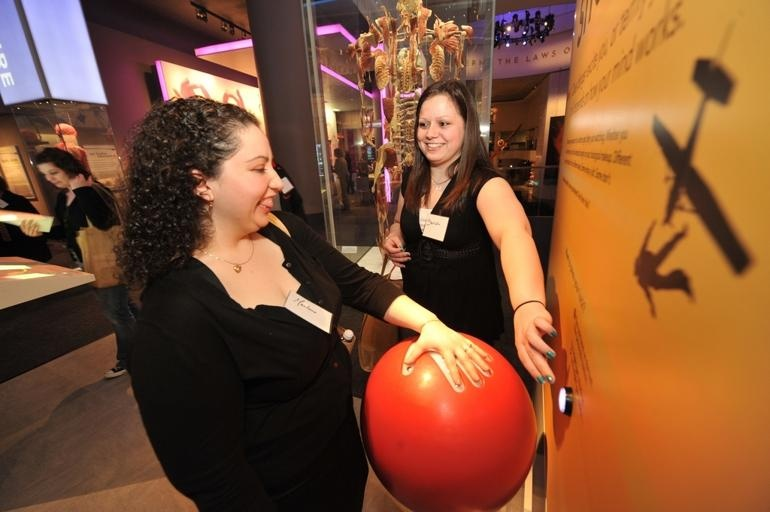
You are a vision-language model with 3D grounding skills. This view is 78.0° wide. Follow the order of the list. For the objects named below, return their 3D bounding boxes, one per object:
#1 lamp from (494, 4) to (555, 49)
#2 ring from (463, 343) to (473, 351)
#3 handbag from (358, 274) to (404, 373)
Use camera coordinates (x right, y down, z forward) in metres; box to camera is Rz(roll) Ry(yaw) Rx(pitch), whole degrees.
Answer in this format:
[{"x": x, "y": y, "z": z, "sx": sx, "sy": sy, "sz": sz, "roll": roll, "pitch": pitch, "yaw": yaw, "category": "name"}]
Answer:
[{"x": 2.609, "y": -4.262, "z": 8.979, "sx": 1.186, "sy": 0.616, "sz": 0.942, "roll": 17, "pitch": 30, "yaw": 34, "category": "lamp"}, {"x": 0.393, "y": 0.425, "z": 2.252, "sx": 0.030, "sy": 0.014, "sz": 0.040, "roll": 4, "pitch": 34, "yaw": -4, "category": "ring"}, {"x": -0.022, "y": 0.384, "z": 2.771, "sx": 0.226, "sy": 0.568, "sz": 0.424, "roll": 6, "pitch": 33, "yaw": 1, "category": "handbag"}]
